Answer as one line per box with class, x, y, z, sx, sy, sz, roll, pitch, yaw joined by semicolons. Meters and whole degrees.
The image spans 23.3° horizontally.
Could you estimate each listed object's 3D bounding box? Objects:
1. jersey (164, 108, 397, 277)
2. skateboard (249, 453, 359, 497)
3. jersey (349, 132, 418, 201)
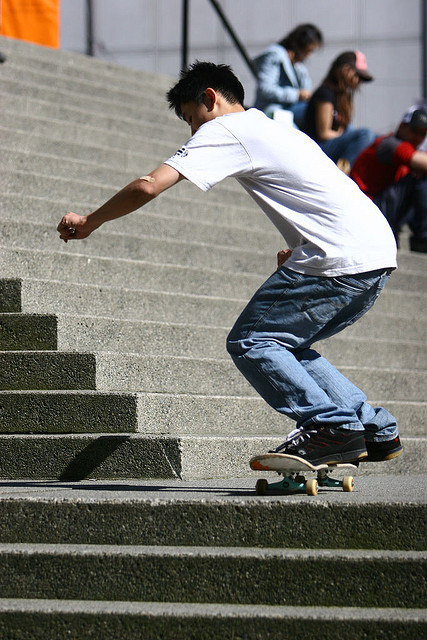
jersey;0.229;-0.409;3.395;0.752;0.523;0.304;1;10;0
skateboard;0.312;0.525;3.468;0.157;0.090;0.405;-4;-11;29
jersey;1.038;-0.901;6.398;0.600;0.275;0.481;-17;0;3
